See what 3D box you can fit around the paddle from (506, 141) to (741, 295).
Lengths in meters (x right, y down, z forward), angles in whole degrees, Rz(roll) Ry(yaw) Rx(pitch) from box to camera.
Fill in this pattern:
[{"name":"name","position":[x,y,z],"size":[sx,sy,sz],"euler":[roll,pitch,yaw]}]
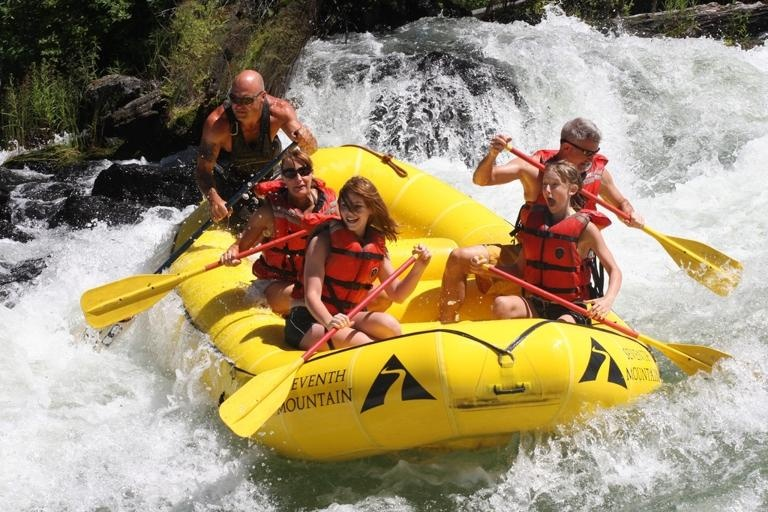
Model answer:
[{"name":"paddle","position":[2.293,-0.309,7.068],"size":[2.992,0.421,0.119],"euler":[34,8,-9]}]

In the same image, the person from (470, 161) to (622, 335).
[{"name":"person","position":[1.254,0.007,5.866],"size":[1.127,1.439,0.837],"euler":[8,17,33]}]

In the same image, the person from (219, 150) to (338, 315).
[{"name":"person","position":[-0.879,-0.169,6.167],"size":[1.144,1.479,0.605],"euler":[11,-8,-8]}]

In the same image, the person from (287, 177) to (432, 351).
[{"name":"person","position":[-0.174,0.112,5.766],"size":[0.973,1.289,0.986],"euler":[5,0,-8]}]

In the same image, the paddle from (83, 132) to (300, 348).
[{"name":"paddle","position":[-1.752,-0.097,6.874],"size":[2.667,0.576,0.117],"euler":[-36,17,11]}]

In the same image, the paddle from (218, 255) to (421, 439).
[{"name":"paddle","position":[-0.621,0.887,5.646],"size":[1.307,0.861,0.348],"euler":[-28,39,-31]}]

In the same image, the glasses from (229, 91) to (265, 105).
[{"name":"glasses","position":[-1.189,-1.373,6.516],"size":[0.297,0.106,0.096],"euler":[-10,34,-8]}]
